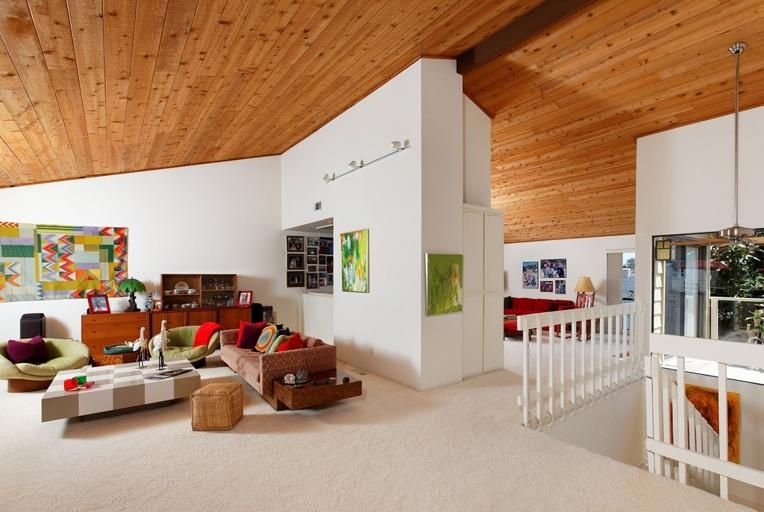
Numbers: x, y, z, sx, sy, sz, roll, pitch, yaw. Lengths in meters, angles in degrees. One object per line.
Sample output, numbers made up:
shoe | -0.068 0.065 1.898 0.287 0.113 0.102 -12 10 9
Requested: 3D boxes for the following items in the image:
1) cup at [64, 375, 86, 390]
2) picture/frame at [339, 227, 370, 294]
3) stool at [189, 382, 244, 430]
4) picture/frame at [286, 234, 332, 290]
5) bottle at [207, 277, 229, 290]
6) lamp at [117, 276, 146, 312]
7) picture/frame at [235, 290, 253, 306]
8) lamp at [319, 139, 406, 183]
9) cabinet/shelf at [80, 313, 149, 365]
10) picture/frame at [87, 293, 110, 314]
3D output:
cup | -4.146 1.686 6.319 0.187 0.121 0.182 -1 -6 0
picture/frame | -0.492 0.077 8.613 0.270 1.253 1.076 -8 16 -28
stool | -2.218 1.965 6.341 0.596 0.496 0.587 0 -2 2
picture/frame | -1.851 0.159 11.570 1.407 1.350 0.065 2 -5 -35
bottle | -3.641 0.611 10.418 0.298 0.258 0.296 -2 -6 21
lamp | -5.084 0.758 9.526 0.511 0.702 0.503 -3 -1 20
picture/frame | -3.091 0.904 10.502 0.309 0.243 0.501 -2 14 -11
lamp | -0.329 -1.702 8.404 0.151 0.235 2.164 22 -22 -38
cabinet/shelf | -4.963 1.521 8.571 0.788 0.726 0.293 0 -4 -27
picture/frame | -5.671 0.943 9.308 0.372 0.427 0.245 1 -17 -38
